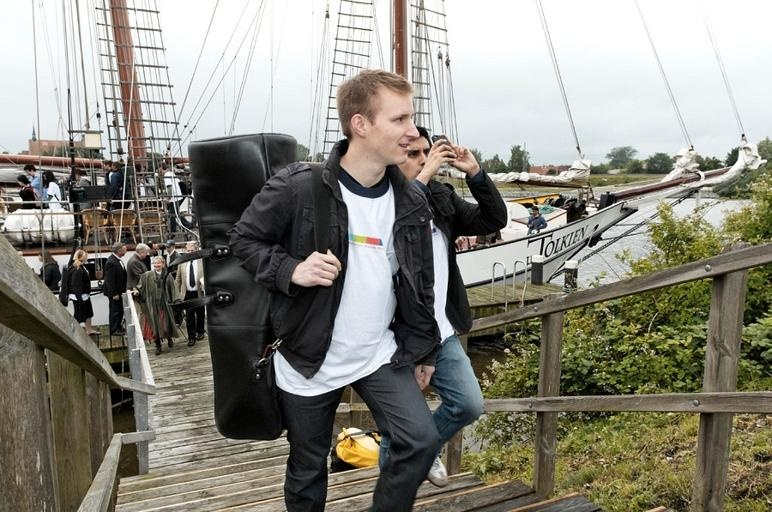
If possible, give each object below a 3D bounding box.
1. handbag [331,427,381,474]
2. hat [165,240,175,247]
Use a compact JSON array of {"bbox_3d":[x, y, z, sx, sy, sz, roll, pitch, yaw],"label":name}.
[{"bbox_3d":[-0.235,1.558,4.741,0.459,0.224,0.576,1,-4,-14],"label":"handbag"},{"bbox_3d":[-4.257,-0.240,11.687,0.215,0.152,0.211,-1,-1,4],"label":"hat"}]
